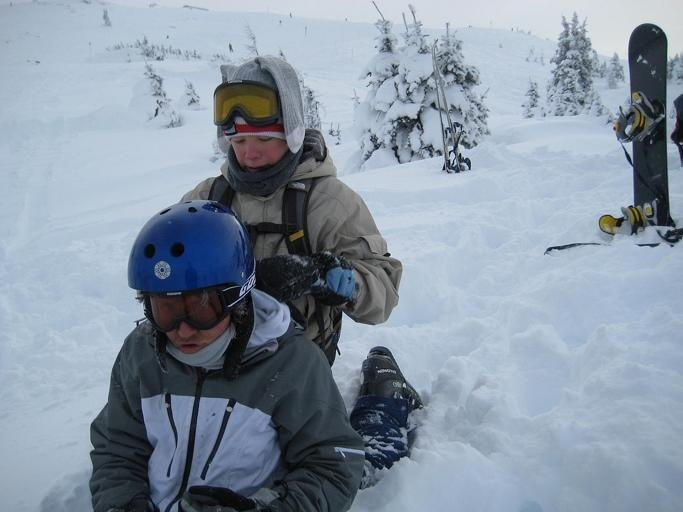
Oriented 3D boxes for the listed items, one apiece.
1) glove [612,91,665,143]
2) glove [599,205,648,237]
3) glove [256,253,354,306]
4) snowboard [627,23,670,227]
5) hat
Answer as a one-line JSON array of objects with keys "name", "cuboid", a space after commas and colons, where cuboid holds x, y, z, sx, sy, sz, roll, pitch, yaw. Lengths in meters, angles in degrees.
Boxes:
[{"name": "glove", "cuboid": [4.171, -1.927, 8.807, 0.712, 0.568, 0.355, -31, 22, -22]}, {"name": "glove", "cuboid": [3.929, -0.494, 8.697, 0.713, 0.300, 0.319, -1, -1, 42]}, {"name": "glove", "cuboid": [-0.333, 0.250, 5.804, 0.706, 0.351, 0.466, 7, 23, -29]}, {"name": "snowboard", "cuboid": [4.583, -2.306, 9.317, 0.473, 0.228, 2.738, -4, -32, 26]}, {"name": "hat", "cuboid": [-0.728, -1.576, 6.423, 0.869, 0.870, 0.871, 15, 37, 32]}]
